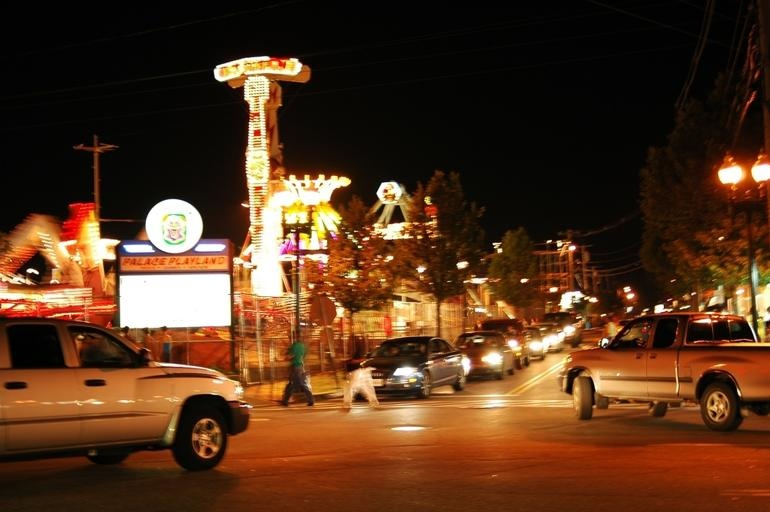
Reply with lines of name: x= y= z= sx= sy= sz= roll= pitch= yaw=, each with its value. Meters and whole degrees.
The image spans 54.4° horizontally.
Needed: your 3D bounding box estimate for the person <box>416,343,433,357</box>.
person: x=1.245 y=2.984 z=24.179 sx=0.475 sy=0.343 sz=0.722 roll=-1 pitch=4 yaw=16
